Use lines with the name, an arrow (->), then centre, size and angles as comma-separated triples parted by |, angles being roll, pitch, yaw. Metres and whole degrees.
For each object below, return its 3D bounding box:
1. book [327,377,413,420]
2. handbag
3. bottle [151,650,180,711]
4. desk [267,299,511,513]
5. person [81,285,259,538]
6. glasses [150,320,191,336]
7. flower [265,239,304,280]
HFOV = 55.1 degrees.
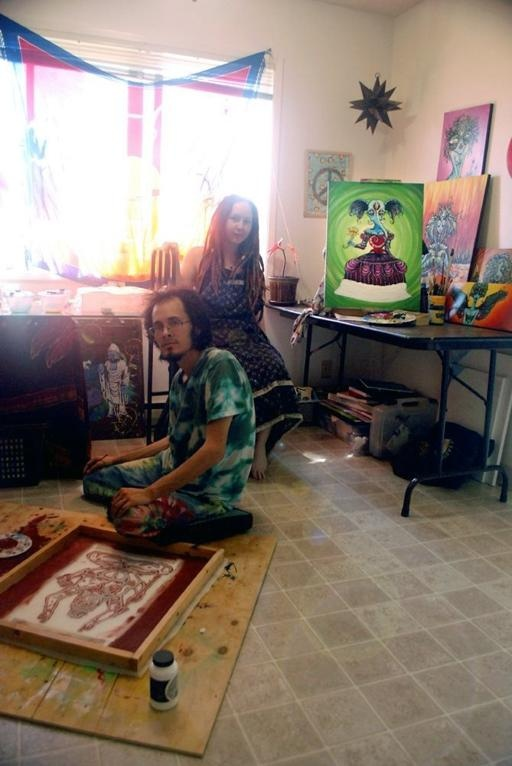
book -> 0.744, 0.083, 3.053 | 0.310, 0.109, 0.314 | -3, 16, -13
handbag -> 0.828, 0.257, 2.753 | 0.292, 0.272, 0.092 | -4, 19, -19
bottle -> -0.179, 0.569, 0.947 | 0.058, 0.122, 0.048 | 5, 8, -9
desk -> 0.695, 0.038, 2.840 | 0.867, 0.817, 1.654 | 3, 9, -21
person -> -0.290, 0.001, 1.928 | 0.714, 1.018, 0.671 | -1, 11, -19
glasses -> -0.270, -0.176, 1.563 | 0.117, 0.069, 0.058 | 7, 8, 2
flower -> 0.191, -0.863, 3.454 | 0.289, 0.417, 0.236 | 4, 18, 10
